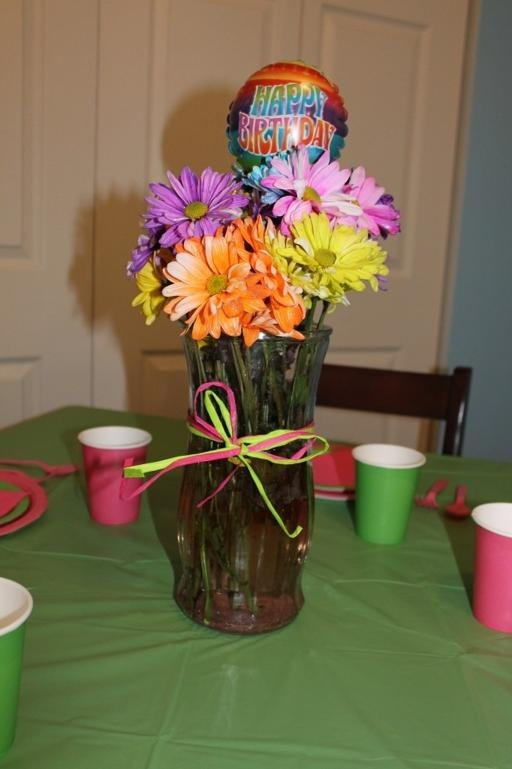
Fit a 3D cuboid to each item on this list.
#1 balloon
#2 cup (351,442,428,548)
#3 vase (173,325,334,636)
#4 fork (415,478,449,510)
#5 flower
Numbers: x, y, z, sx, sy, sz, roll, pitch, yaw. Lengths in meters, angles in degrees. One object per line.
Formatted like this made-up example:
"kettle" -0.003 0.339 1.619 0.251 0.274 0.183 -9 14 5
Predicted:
"balloon" 0.031 -0.195 0.520 0.088 0.097 0.090 0 3 15
"cup" 0.129 0.114 0.677 0.094 0.092 0.095 3 11 -1
"vase" -0.015 0.075 0.519 0.133 0.216 0.124 7 1 -14
"fork" 0.212 0.133 0.754 0.032 0.009 0.080 -1 16 26
"flower" 0.006 0.025 0.494 0.185 0.296 0.164 5 0 -36
